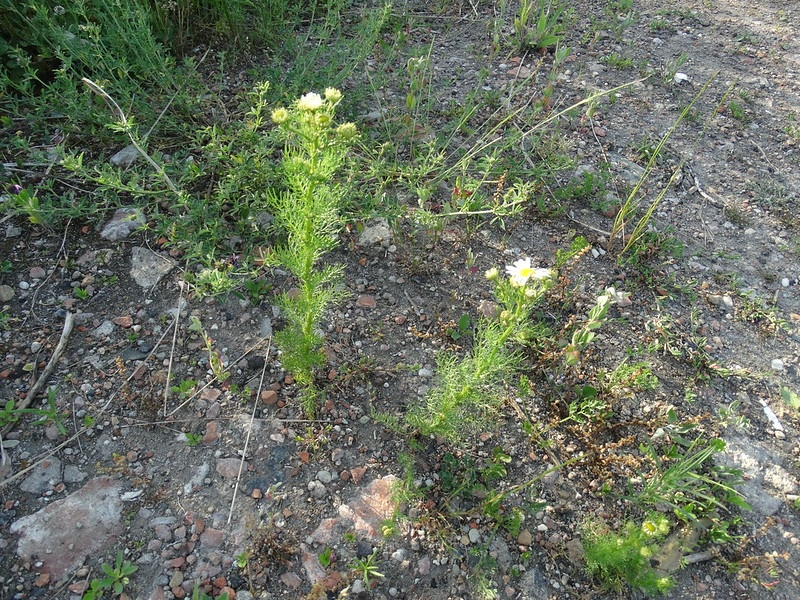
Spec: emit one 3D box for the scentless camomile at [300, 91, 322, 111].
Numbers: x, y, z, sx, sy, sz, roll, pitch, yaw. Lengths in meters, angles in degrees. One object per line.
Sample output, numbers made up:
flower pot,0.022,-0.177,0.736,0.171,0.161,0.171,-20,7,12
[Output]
scentless camomile,-0.412,-0.905,2.532,0.093,0.046,0.101,-4,32,-4
